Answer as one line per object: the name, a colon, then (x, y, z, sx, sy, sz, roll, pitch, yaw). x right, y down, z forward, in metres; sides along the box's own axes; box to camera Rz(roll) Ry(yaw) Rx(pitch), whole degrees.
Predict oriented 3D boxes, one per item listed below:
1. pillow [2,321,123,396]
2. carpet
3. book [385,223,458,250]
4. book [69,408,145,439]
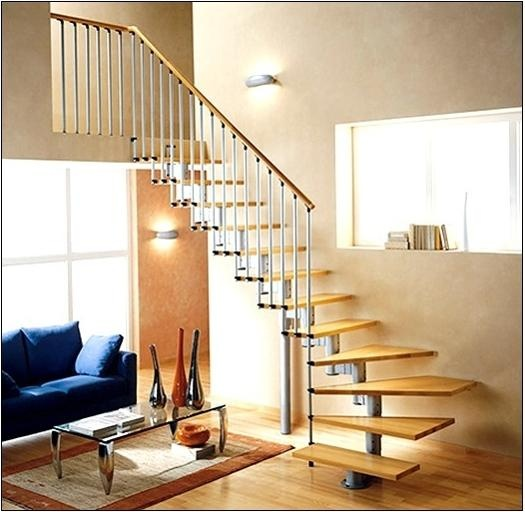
pillow: (-1.917, 0.883, 4.802, 0.658, 0.457, 0.602, -2, 3, 37)
carpet: (-0.899, 1.535, 3.786, 1.892, 0.065, 1.293, -1, 0, -20)
book: (1.327, -0.157, 4.391, 0.577, 0.216, 0.169, -1, 1, 21)
book: (-1.087, 1.193, 3.769, 0.477, 0.046, 0.551, -1, 0, 33)
